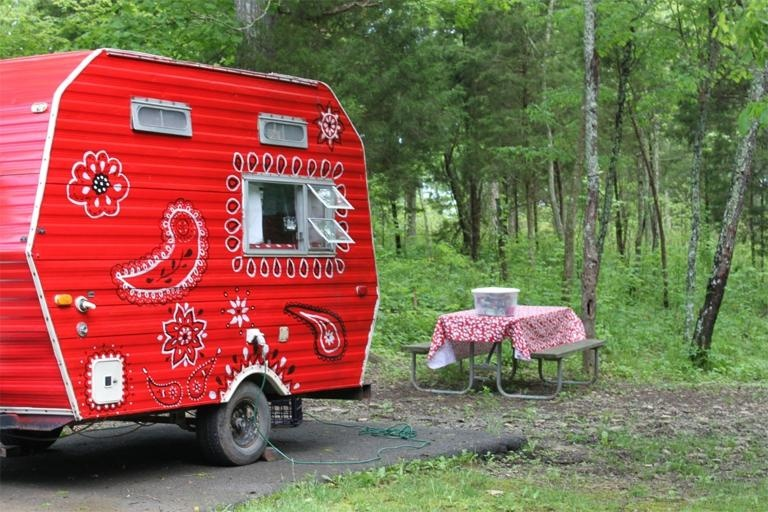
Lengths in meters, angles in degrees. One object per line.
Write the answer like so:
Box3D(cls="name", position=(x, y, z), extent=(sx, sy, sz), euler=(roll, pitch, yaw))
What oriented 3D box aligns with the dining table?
Box3D(cls="dining table", position=(1.801, 1.353, 15.324), extent=(1.613, 0.901, 1.938), euler=(-1, 0, 33))
